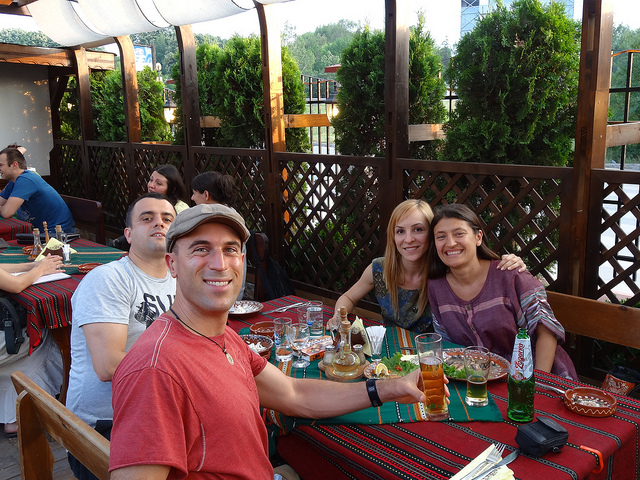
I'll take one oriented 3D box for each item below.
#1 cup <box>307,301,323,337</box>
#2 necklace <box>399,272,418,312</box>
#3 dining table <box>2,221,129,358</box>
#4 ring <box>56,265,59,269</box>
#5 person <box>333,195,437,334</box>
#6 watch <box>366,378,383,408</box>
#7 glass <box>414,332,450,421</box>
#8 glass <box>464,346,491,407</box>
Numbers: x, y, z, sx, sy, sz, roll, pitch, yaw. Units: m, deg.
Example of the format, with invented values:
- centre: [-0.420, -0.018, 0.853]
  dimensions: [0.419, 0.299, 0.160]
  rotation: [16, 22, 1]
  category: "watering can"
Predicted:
- centre: [-0.022, 0.498, 2.707]
  dimensions: [0.118, 0.222, 0.124]
  rotation: [-2, -4, 0]
  category: "cup"
- centre: [0.585, 0.354, 2.902]
  dimensions: [0.035, 0.261, 0.040]
  rotation: [-21, -13, -5]
  category: "necklace"
- centre: [-1.856, 0.363, 3.135]
  dimensions: [0.614, 0.244, 0.900]
  rotation: [-14, 26, -39]
  category: "dining table"
- centre: [-2.119, 0.219, 3.548]
  dimensions: [0.027, 0.031, 0.009]
  rotation: [0, 0, -40]
  category: "ring"
- centre: [0.502, 0.178, 3.422]
  dimensions: [0.898, 1.053, 0.569]
  rotation: [9, 16, 17]
  category: "person"
- centre: [0.218, 0.646, 1.879]
  dimensions: [0.057, 0.115, 0.109]
  rotation: [-4, -27, 10]
  category: "watch"
- centre: [0.456, 0.566, 1.869]
  dimensions: [0.110, 0.352, 0.155]
  rotation: [4, 16, 11]
  category: "glass"
- centre: [0.690, 0.595, 1.926]
  dimensions: [0.119, 0.241, 0.133]
  rotation: [2, -5, -13]
  category: "glass"
